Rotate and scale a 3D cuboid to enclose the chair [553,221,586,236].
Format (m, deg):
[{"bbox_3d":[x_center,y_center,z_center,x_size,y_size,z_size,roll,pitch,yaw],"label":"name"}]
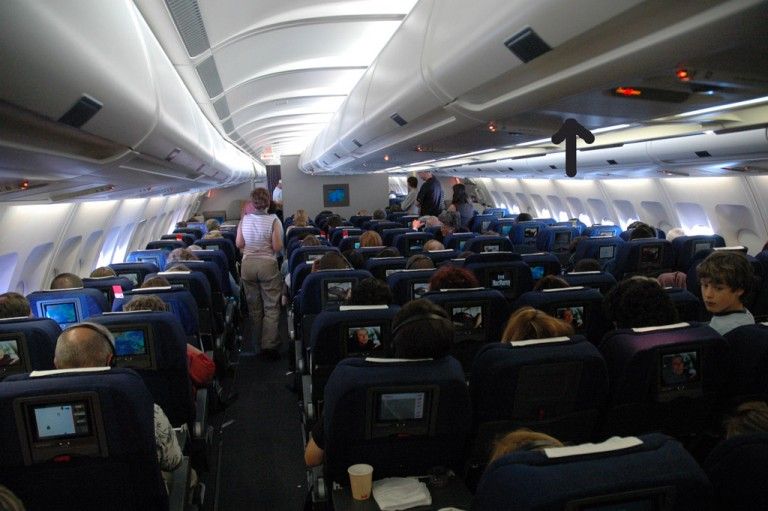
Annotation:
[{"bbox_3d":[4.100,-0.595,11.101,0.511,0.414,0.333,-1,-14,11],"label":"chair"}]

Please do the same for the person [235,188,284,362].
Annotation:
[{"bbox_3d":[-1.594,0.250,7.135,0.794,2.244,0.819,1,3,26],"label":"person"}]

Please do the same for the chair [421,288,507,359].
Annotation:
[{"bbox_3d":[0.634,0.523,4.329,0.746,0.644,0.559,-2,21,1],"label":"chair"}]

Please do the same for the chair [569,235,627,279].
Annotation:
[{"bbox_3d":[3.043,0.027,7.109,0.526,0.611,0.623,5,12,1],"label":"chair"}]

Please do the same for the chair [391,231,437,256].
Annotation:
[{"bbox_3d":[0.495,-0.243,8.454,0.731,0.574,0.369,-3,19,-17],"label":"chair"}]

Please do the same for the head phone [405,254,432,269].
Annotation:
[{"bbox_3d":[0.389,0.066,5.443,0.159,0.154,0.208,1,8,-5],"label":"head phone"}]

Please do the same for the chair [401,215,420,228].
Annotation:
[{"bbox_3d":[0.622,-0.803,12.151,0.367,0.405,0.385,1,15,-10],"label":"chair"}]

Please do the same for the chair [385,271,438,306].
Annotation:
[{"bbox_3d":[0.249,0.324,4.944,0.355,0.440,0.386,3,-2,-18],"label":"chair"}]

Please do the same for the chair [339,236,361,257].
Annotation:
[{"bbox_3d":[-0.551,-0.147,8.008,0.294,0.343,0.346,2,13,-3],"label":"chair"}]

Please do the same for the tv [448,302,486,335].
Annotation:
[{"bbox_3d":[0.659,0.485,4.003,0.344,0.223,0.043,-2,21,-8],"label":"tv"}]

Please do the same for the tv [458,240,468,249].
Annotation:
[{"bbox_3d":[1.323,-0.184,8.422,0.112,0.173,0.199,0,2,1],"label":"tv"}]

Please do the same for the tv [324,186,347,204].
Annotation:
[{"bbox_3d":[-1.658,-2.062,16.977,0.688,0.501,0.329,-2,3,-20],"label":"tv"}]

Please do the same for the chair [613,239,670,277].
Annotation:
[{"bbox_3d":[3.457,0.050,6.685,0.436,0.379,0.344,6,25,-5],"label":"chair"}]

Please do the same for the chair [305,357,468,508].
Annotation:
[{"bbox_3d":[0.077,0.878,3.014,0.792,0.985,0.898,-1,9,-5],"label":"chair"}]

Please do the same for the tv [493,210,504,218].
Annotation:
[{"bbox_3d":[4.060,-1.439,17.759,0.318,0.300,0.559,3,10,23],"label":"tv"}]

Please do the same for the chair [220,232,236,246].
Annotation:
[{"bbox_3d":[-3.308,-0.382,10.749,0.448,0.180,0.522,0,4,-18],"label":"chair"}]

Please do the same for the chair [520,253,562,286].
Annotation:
[{"bbox_3d":[1.718,0.163,5.539,0.344,0.282,0.183,-3,18,-7],"label":"chair"}]

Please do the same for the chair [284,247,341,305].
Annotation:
[{"bbox_3d":[-0.785,0.224,5.626,0.640,0.778,0.688,-1,33,-9],"label":"chair"}]

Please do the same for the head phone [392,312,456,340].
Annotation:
[{"bbox_3d":[0.214,0.388,2.780,0.334,0.132,0.132,2,13,4],"label":"head phone"}]

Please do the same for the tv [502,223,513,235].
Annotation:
[{"bbox_3d":[3.002,-0.634,12.236,0.361,0.318,0.045,-1,-1,-11],"label":"tv"}]

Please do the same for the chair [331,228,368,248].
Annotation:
[{"bbox_3d":[-0.706,-0.411,9.413,0.541,0.469,0.412,-2,41,-8],"label":"chair"}]

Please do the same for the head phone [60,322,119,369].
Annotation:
[{"bbox_3d":[-1.828,0.550,3.229,0.290,0.314,0.339,-1,1,-15],"label":"head phone"}]

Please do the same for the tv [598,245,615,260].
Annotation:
[{"bbox_3d":[3.607,-0.049,8.106,0.249,0.201,0.063,-5,11,-18],"label":"tv"}]

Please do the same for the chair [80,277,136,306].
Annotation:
[{"bbox_3d":[-3.032,0.332,5.547,0.505,0.429,0.447,-2,11,-22],"label":"chair"}]

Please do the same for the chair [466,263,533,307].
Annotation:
[{"bbox_3d":[1.234,0.442,5.587,0.800,0.598,0.422,-3,8,-17],"label":"chair"}]

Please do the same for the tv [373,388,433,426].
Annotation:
[{"bbox_3d":[0.087,0.781,2.621,0.259,0.140,0.024,-1,8,-13],"label":"tv"}]

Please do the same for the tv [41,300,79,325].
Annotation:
[{"bbox_3d":[-3.004,0.515,4.643,0.293,0.240,0.037,0,12,-7],"label":"tv"}]

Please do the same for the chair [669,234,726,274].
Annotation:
[{"bbox_3d":[3.786,-0.015,6.098,0.475,0.569,0.466,1,17,3],"label":"chair"}]

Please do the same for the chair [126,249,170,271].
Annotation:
[{"bbox_3d":[-3.460,0.076,7.403,0.309,0.255,0.244,-2,15,-19],"label":"chair"}]

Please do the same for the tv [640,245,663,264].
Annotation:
[{"bbox_3d":[3.575,-0.025,6.733,0.254,0.208,0.129,-3,13,-11],"label":"tv"}]

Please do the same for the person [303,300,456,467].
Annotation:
[{"bbox_3d":[-0.135,0.718,2.870,0.716,0.743,0.669,-5,5,-11],"label":"person"}]

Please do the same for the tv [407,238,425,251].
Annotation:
[{"bbox_3d":[0.536,-0.164,8.389,0.380,0.225,0.191,-1,5,-21],"label":"tv"}]

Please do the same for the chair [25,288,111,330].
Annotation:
[{"bbox_3d":[-2.802,0.479,4.434,0.412,0.317,0.194,0,15,-11],"label":"chair"}]

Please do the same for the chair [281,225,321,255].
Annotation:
[{"bbox_3d":[-1.576,-0.229,9.361,0.658,0.786,0.710,1,10,-9],"label":"chair"}]

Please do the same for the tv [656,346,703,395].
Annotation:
[{"bbox_3d":[1.771,0.678,3.027,0.347,0.310,0.045,-2,6,-10],"label":"tv"}]

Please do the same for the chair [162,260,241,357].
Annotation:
[{"bbox_3d":[-2.123,0.631,6.203,1.010,1.192,1.247,-3,1,-1],"label":"chair"}]

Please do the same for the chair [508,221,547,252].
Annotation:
[{"bbox_3d":[3.217,-0.454,11.548,0.843,0.848,0.854,1,8,-3],"label":"chair"}]
